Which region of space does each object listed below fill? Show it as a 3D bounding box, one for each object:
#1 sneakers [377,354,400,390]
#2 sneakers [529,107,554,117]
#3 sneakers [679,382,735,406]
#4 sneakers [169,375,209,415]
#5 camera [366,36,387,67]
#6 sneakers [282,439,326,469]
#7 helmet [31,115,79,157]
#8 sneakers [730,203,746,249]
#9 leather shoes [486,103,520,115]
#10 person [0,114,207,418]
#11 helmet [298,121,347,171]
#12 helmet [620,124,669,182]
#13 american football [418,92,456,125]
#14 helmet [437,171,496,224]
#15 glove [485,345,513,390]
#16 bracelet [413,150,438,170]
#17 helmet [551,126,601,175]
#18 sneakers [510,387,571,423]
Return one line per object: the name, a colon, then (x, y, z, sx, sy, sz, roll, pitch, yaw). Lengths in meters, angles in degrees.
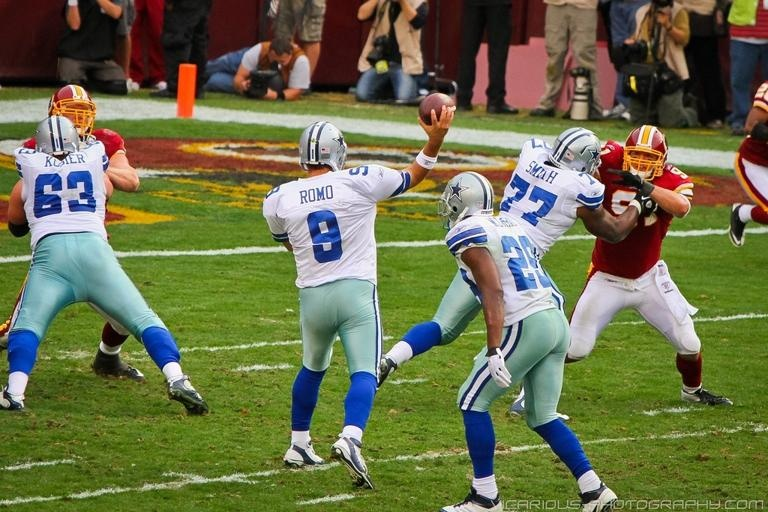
sneakers: (0.015, 0.924, 10.572, 0.110, 0.326, 0.140, 35, 9, 24)
sneakers: (2.511, -2.255, 20.462, 0.392, 0.163, 0.140, 7, 4, -1)
sneakers: (2.726, 1.164, 10.929, 0.475, 0.170, 0.160, 0, 5, 5)
sneakers: (-1.538, 1.129, 10.286, 0.159, 0.430, 0.220, -37, 34, 9)
camera: (-0.088, -3.259, 20.566, 0.170, 0.405, 0.293, 40, 28, 14)
sneakers: (-0.639, 1.536, 9.940, 0.383, 0.192, 0.136, 3, 4, -22)
helmet: (-2.666, -0.955, 10.439, 0.271, 0.273, 0.352, -2, 34, -2)
sneakers: (3.792, -0.327, 13.903, 0.166, 0.485, 0.209, -5, 14, -7)
leather shoes: (1.930, -2.354, 20.827, 0.555, 0.242, 0.197, 0, 14, 5)
person: (-2.372, 0.065, 10.379, 1.383, 2.292, 0.965, 1, 10, -10)
helmet: (-0.497, -0.881, 10.092, 0.314, 0.386, 0.394, 11, 38, 19)
helmet: (2.197, -0.857, 10.782, 0.348, 0.381, 0.474, 6, 15, 21)
american football: (0.405, -1.158, 10.197, 0.240, 0.169, 0.265, -2, 8, 2)
helmet: (0.595, -0.445, 9.759, 0.419, 0.415, 0.334, 8, 10, 28)
glove: (0.835, 0.814, 9.467, 0.087, 0.286, 0.165, -25, -14, -18)
bracelet: (0.331, -0.726, 10.191, 0.167, 0.113, 0.165, 9, 25, -13)
helmet: (1.526, -0.838, 10.281, 0.414, 0.342, 0.300, -14, 39, -23)
sneakers: (1.349, 1.238, 10.721, 0.686, 0.288, 0.206, -3, 1, -10)
